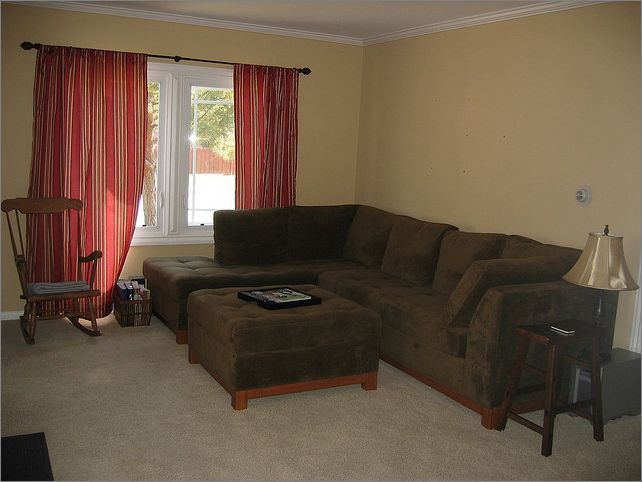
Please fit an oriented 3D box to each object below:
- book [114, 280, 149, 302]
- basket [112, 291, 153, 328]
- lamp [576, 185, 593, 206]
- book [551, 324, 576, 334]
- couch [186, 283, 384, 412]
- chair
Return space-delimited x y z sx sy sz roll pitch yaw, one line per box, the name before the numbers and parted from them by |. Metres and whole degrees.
book | -1.917 0.490 5.089 0.248 0.063 0.232 -2 18 -25
basket | -1.900 0.743 5.093 0.359 0.202 0.255 3 -13 -5
lamp | 2.095 -0.361 4.012 0.045 0.157 0.123 -5 13 -31
book | 1.577 0.575 3.284 0.099 0.019 0.178 -6 4 -13
couch | -0.290 0.731 3.766 0.882 0.490 0.967 -2 9 -23
chair | -2.560 0.227 4.814 0.801 1.259 1.002 -3 13 -25
